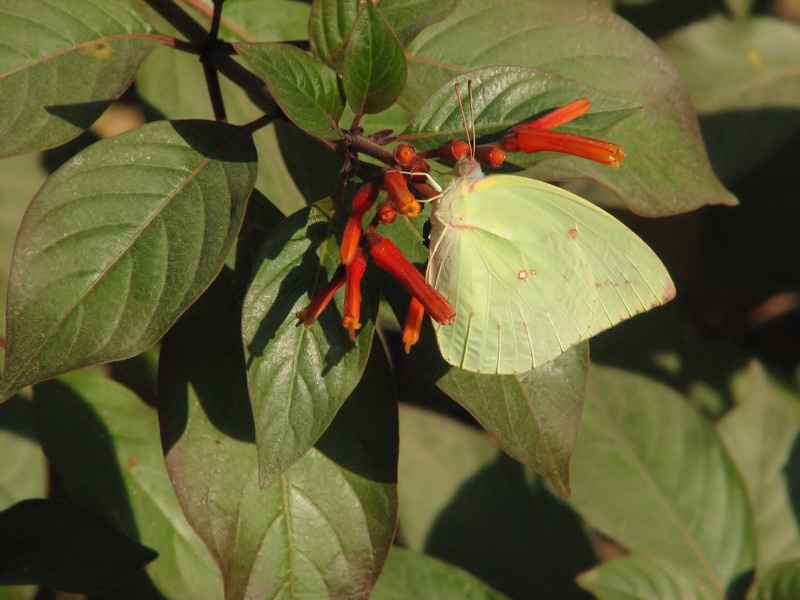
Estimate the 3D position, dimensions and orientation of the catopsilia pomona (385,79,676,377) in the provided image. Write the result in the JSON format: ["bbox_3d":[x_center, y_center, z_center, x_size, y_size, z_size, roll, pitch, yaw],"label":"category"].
[{"bbox_3d":[0.433,-0.175,3.948,0.947,0.639,0.997,-20,79,-5],"label":"catopsilia pomona"}]
